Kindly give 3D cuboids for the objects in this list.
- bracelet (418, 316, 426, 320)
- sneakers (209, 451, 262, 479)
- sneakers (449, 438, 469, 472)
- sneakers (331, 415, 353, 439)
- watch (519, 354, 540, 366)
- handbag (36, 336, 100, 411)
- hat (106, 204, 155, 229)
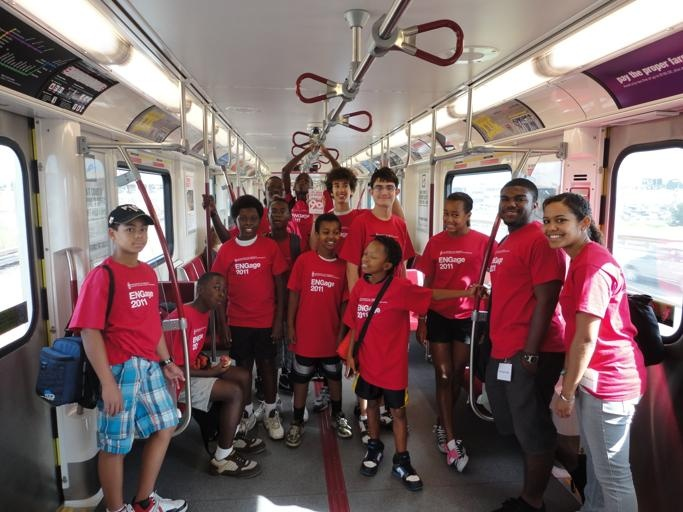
[{"bbox_3d":[0.728,0.567,4.085,0.051,0.047,0.043,1,2,-39],"label":"bracelet"},{"bbox_3d":[-0.919,1.816,3.921,0.442,0.186,0.182,0,-7,-3],"label":"sneakers"},{"bbox_3d":[1.033,1.767,3.987,0.114,0.144,0.339,-20,-11,-8],"label":"sneakers"},{"bbox_3d":[0.004,1.698,4.452,0.106,0.125,0.298,2,-6,-19],"label":"sneakers"},{"bbox_3d":[1.395,0.764,3.308,0.076,0.057,0.103,4,1,4],"label":"watch"},{"bbox_3d":[-1.894,0.813,3.096,0.353,0.501,0.243,-9,16,-36],"label":"handbag"},{"bbox_3d":[-1.522,-0.295,3.177,0.243,0.126,0.180,-19,-2,24],"label":"hat"}]
